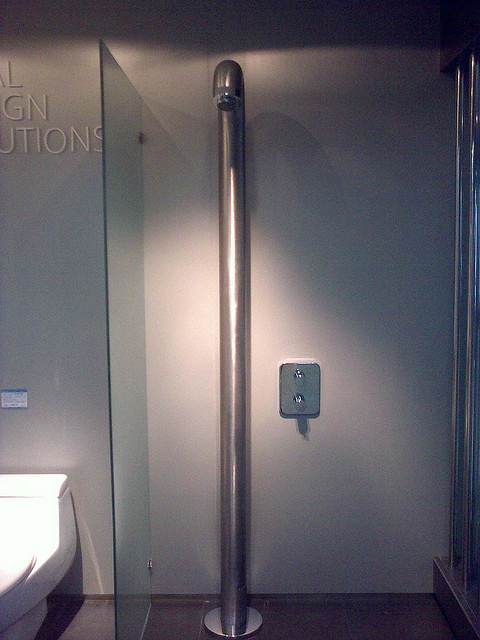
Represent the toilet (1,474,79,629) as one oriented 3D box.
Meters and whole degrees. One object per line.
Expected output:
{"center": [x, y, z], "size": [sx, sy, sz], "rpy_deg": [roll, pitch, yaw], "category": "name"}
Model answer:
{"center": [-0.719, 0.784, 2.540], "size": [0.276, 0.328, 0.427], "rpy_deg": [1, -7, -2], "category": "toilet"}
